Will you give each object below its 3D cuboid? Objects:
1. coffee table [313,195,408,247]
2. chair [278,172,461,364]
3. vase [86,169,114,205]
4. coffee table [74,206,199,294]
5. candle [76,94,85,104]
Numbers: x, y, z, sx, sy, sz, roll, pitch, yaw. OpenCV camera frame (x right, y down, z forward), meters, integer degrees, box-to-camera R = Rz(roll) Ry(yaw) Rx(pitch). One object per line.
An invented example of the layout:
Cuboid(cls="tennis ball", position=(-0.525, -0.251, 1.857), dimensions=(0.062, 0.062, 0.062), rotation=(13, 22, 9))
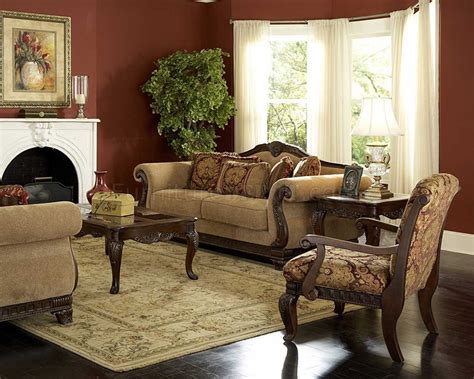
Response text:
Cuboid(cls="coffee table", position=(1.199, 0.147, 3.835), dimensions=(0.574, 0.434, 0.673), rotation=(-7, 11, -43))
Cuboid(cls="chair", position=(0.774, 0.346, 2.735), dimensions=(1.180, 1.221, 0.927), rotation=(6, 7, 38))
Cuboid(cls="vase", position=(-1.506, -0.010, 4.415), dimensions=(0.319, 0.370, 0.304), rotation=(5, 11, 16))
Cuboid(cls="coffee table", position=(-0.846, 0.395, 3.589), dimensions=(0.707, 0.398, 0.940), rotation=(0, 3, -36))
Cuboid(cls="candle", position=(-2.318, -1.332, 5.935), dimensions=(0.130, 0.133, 0.124), rotation=(1, -2, 9))
